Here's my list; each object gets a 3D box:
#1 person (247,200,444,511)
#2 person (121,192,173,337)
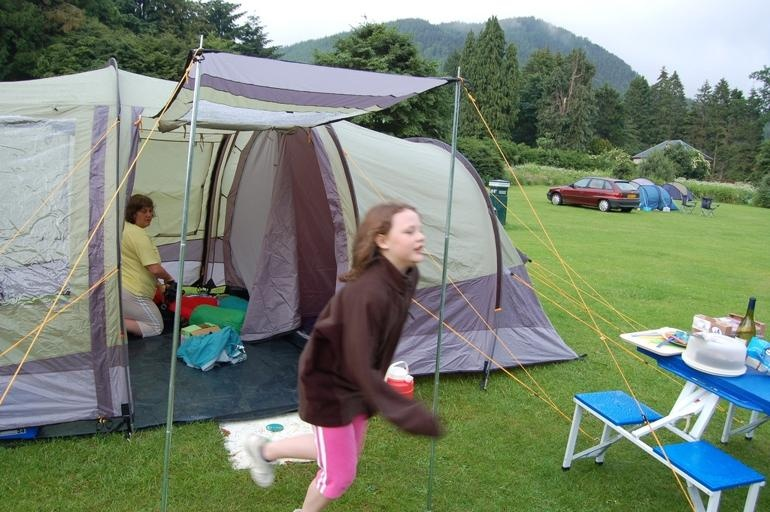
[{"bbox_3d":[-0.325,0.740,4.469,1.013,2.183,0.829,0,1,-12],"label":"person"},{"bbox_3d":[-2.938,0.107,7.591,0.902,1.631,0.716,3,7,19],"label":"person"}]
